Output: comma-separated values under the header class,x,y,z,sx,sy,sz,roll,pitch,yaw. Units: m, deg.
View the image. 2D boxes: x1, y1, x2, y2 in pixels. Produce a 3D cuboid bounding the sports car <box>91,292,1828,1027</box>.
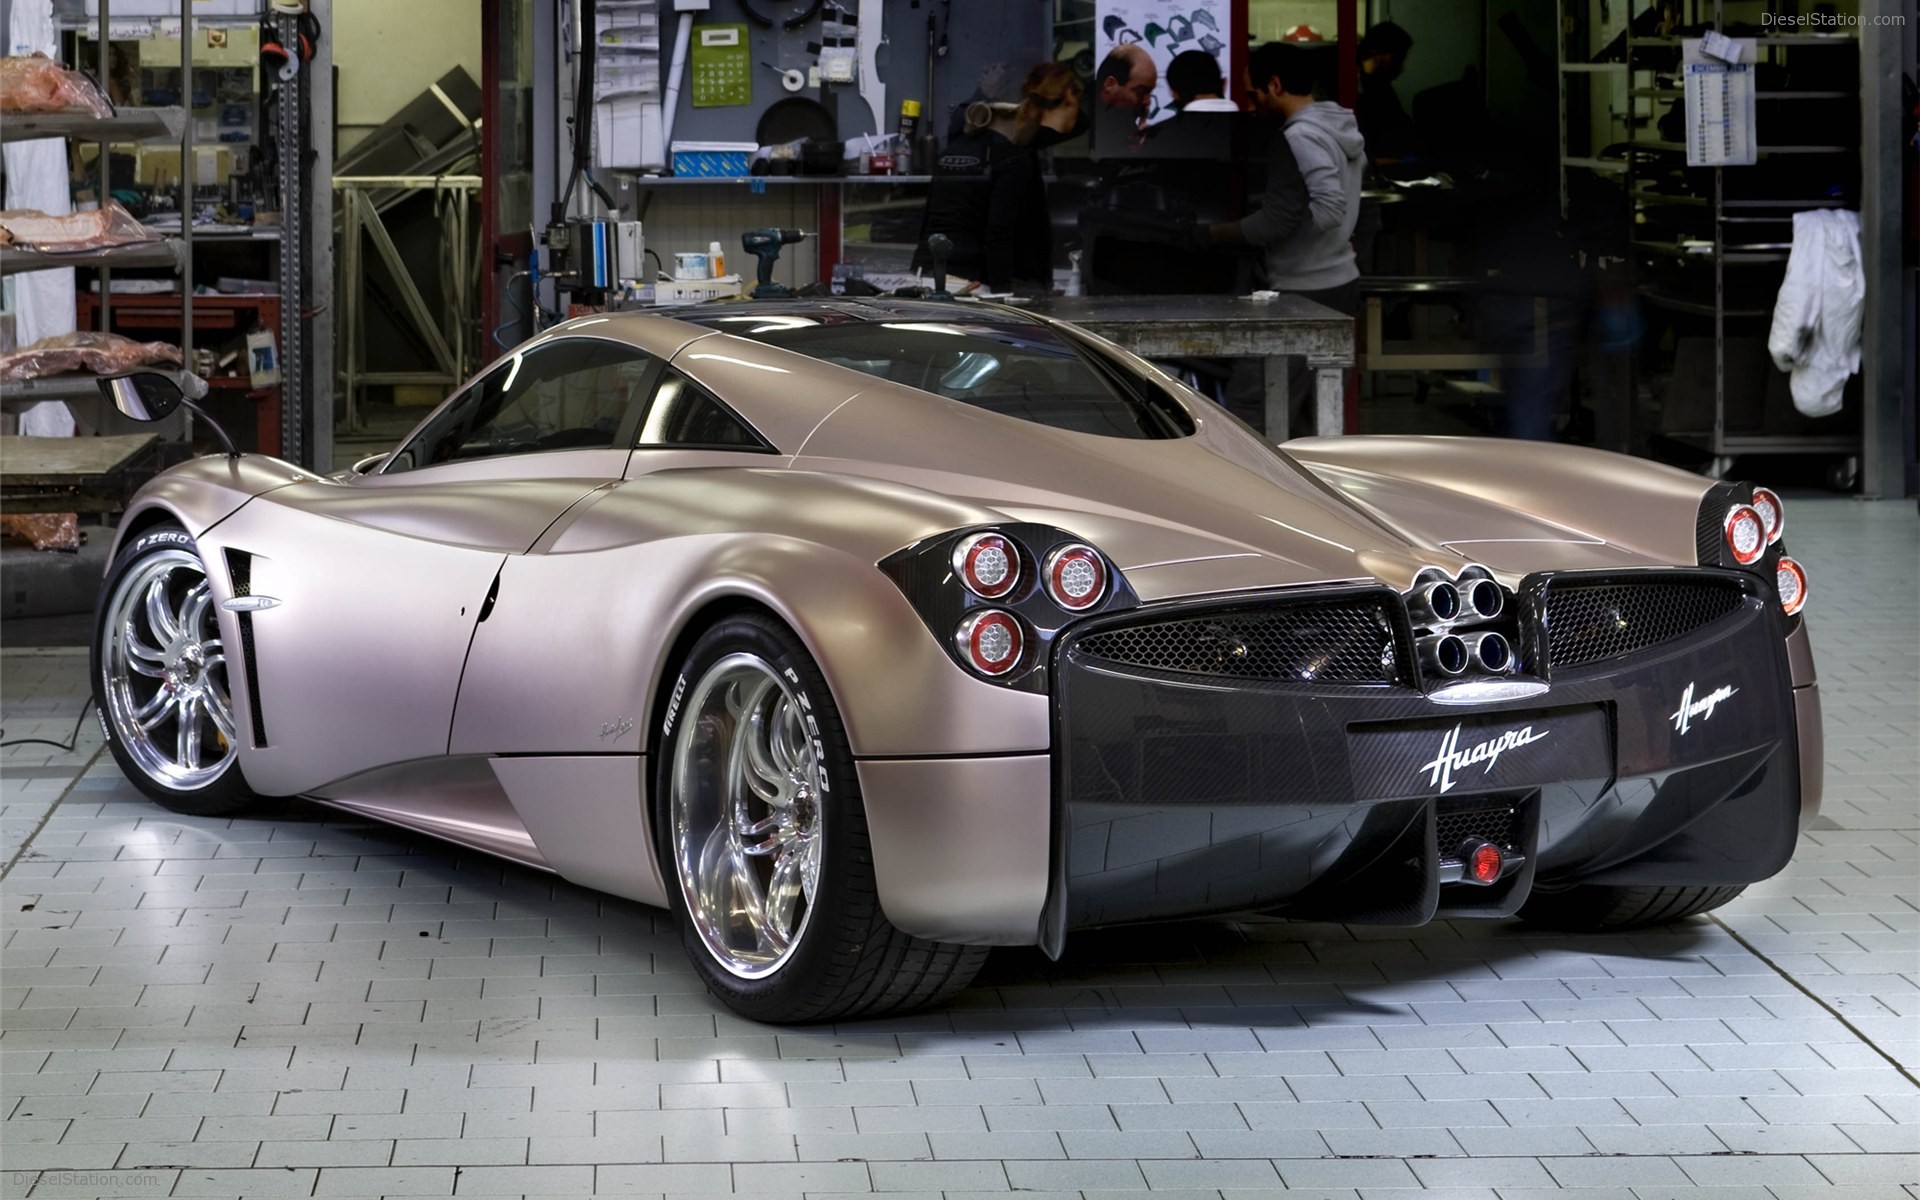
class,x,y,z,sx,sy,sz,roll,pitch,yaw
sports car,-0.301,0.087,4.041,2.243,1.039,3.344,-2,8,-42
